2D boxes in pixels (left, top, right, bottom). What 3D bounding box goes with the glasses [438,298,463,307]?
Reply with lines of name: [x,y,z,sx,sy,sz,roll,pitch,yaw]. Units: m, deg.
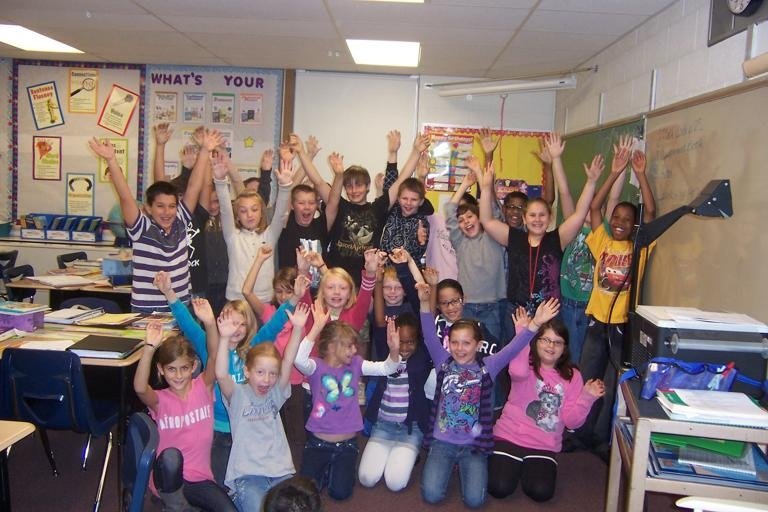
glasses: [0.447,0.325,4.137,0.164,0.064,0.057,5,7,1]

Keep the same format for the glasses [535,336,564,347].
glasses: [1.054,0.549,3.860,0.163,0.058,0.037,6,7,6]
